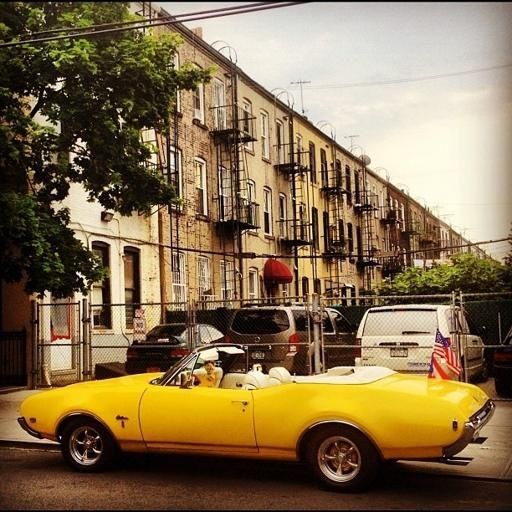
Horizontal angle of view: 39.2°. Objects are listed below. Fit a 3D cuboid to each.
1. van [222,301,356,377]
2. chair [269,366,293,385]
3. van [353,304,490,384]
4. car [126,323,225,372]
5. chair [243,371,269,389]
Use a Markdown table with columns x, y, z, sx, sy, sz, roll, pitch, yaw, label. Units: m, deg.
| x | y | z | sx | sy | sz | roll | pitch | yaw | label |
| --- | --- | --- | --- | --- | --- | --- | --- | --- | --- |
| 0.985 | 1.741 | 16.002 | 1.473 | 1.196 | 3.014 | -2 | -2 | 32 | van |
| 0.298 | 1.403 | 8.598 | 0.197 | 0.186 | 0.213 | 6 | -3 | 36 | chair |
| 3.201 | 1.482 | 13.653 | 1.442 | 1.209 | 2.505 | -2 | 0 | 34 | van |
| -1.766 | 1.981 | 16.123 | 0.920 | 0.617 | 1.922 | -1 | 0 | 21 | car |
| 0.002 | 1.456 | 8.427 | 0.226 | 0.214 | 0.164 | -1 | -6 | 34 | chair |
